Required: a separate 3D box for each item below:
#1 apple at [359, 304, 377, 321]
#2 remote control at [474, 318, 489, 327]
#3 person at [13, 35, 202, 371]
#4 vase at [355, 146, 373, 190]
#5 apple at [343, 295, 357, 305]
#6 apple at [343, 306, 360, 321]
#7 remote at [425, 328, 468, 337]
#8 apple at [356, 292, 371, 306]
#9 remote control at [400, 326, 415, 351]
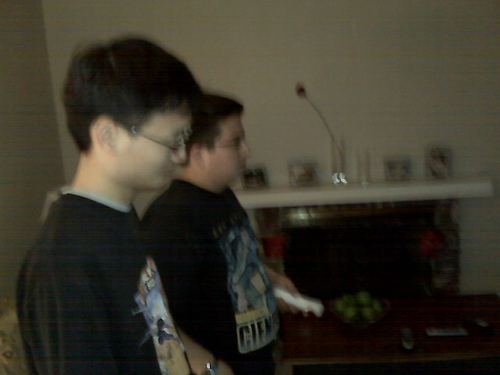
[{"bbox_3d":[0.318,0.335,1.699,0.045,0.049,0.043,1,-17,-14],"label":"apple"},{"bbox_3d":[0.471,0.280,1.292,0.007,0.015,0.028,11,-5,-37],"label":"remote control"},{"bbox_3d":[-0.261,0.063,1.191,0.406,0.675,0.183,-8,6,-9],"label":"person"},{"bbox_3d":[0.220,-0.040,1.221,0.031,0.082,0.027,-8,6,-5],"label":"vase"},{"bbox_3d":[0.285,0.314,1.780,0.038,0.020,0.048,-8,6,-13],"label":"apple"},{"bbox_3d":[0.277,0.343,1.722,0.033,0.036,0.032,-9,14,-36],"label":"apple"},{"bbox_3d":[0.415,0.296,1.321,0.074,0.022,0.003,-2,-9,24],"label":"remote"},{"bbox_3d":[0.315,0.305,1.747,0.035,0.038,0.033,-16,29,-20],"label":"apple"},{"bbox_3d":[0.321,0.308,1.287,0.033,0.007,0.136,0,5,7],"label":"remote control"}]
